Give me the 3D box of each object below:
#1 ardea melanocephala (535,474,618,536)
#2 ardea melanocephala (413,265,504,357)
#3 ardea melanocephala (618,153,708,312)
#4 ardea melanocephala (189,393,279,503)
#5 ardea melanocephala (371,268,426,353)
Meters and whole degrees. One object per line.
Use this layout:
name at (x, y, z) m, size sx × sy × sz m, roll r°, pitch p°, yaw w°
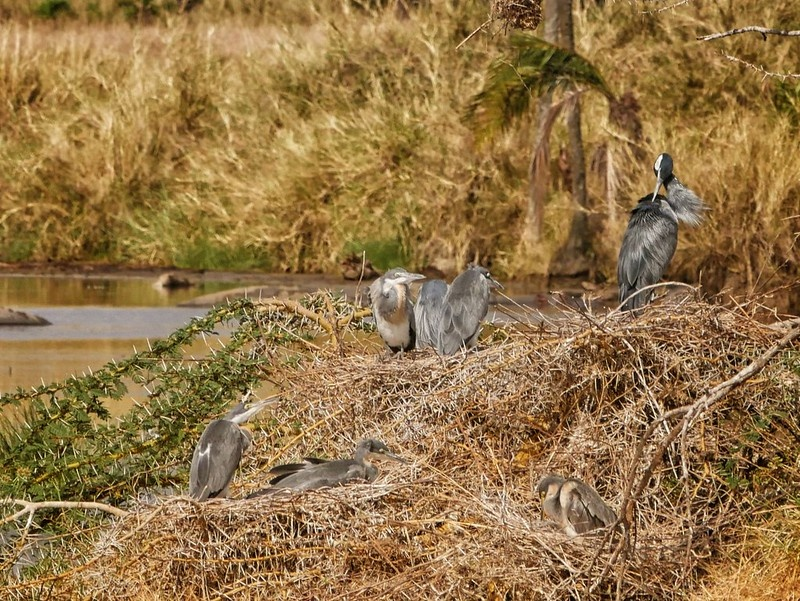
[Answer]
ardea melanocephala at (1.646, 1.968, 12.991) m, size 0.686 × 0.812 × 0.518 m, roll -7°, pitch -11°, yaw 4°
ardea melanocephala at (0.581, 0.140, 14.659) m, size 0.863 × 0.646 × 1.007 m, roll -7°, pitch 21°, yaw 3°
ardea melanocephala at (2.804, -0.737, 15.428) m, size 0.909 × 1.415 × 0.742 m, roll -11°, pitch 20°, yaw -11°
ardea melanocephala at (-1.657, 1.468, 13.369) m, size 0.470 × 0.671 × 1.040 m, roll 3°, pitch 24°, yaw 26°
ardea melanocephala at (-0.014, 0.164, 14.908) m, size 0.356 × 0.944 × 1.039 m, roll 3°, pitch 1°, yaw -8°
